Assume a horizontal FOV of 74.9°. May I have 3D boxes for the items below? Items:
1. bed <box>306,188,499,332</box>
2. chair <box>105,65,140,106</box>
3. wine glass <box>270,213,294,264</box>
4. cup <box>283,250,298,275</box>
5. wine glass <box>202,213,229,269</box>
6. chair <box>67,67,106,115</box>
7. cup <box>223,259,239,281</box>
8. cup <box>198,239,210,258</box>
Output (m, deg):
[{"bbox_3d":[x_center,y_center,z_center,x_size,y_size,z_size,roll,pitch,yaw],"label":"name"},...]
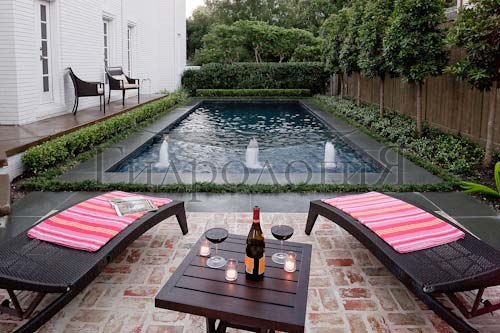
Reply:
[{"bbox_3d":[1.274,0.760,3.075,0.837,0.393,1.486,-14,31,-28],"label":"bed"},{"bbox_3d":[-4.404,-2.861,11.398,1.021,1.066,1.030,-9,24,-34],"label":"chair"},{"bbox_3d":[0.280,0.631,2.812,0.205,0.342,0.203,-3,7,-25],"label":"wine glass"},{"bbox_3d":[0.327,0.772,2.654,0.136,0.149,0.134,-1,6,0],"label":"cup"},{"bbox_3d":[-0.279,0.683,2.771,0.197,0.237,0.188,5,7,15],"label":"wine glass"},{"bbox_3d":[-4.531,-2.107,9.107,0.928,1.032,1.017,14,16,39],"label":"chair"},{"bbox_3d":[-0.141,0.818,2.595,0.149,0.152,0.117,1,8,11],"label":"cup"},{"bbox_3d":[-0.384,0.698,2.809,0.127,0.161,0.124,0,5,0],"label":"cup"}]
